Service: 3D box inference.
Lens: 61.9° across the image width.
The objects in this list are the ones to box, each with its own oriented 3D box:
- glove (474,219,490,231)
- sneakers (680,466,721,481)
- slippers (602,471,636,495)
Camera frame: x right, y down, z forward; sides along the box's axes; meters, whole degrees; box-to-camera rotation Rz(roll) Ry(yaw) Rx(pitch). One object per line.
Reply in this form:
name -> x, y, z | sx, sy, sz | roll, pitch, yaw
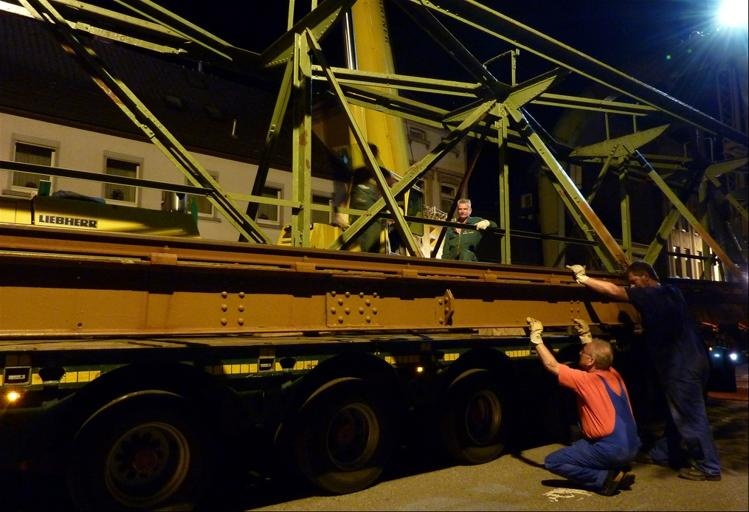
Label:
glove -> 1.848, -0.530, 10.602 | 0.105, 0.126, 0.403 | 20, 10, 31
sneakers -> 4.488, 2.960, 8.619 | 0.408, 0.188, 0.205 | 2, -6, 33
slippers -> 3.231, 2.996, 8.258 | 0.448, 0.159, 0.184 | -20, -3, -28
